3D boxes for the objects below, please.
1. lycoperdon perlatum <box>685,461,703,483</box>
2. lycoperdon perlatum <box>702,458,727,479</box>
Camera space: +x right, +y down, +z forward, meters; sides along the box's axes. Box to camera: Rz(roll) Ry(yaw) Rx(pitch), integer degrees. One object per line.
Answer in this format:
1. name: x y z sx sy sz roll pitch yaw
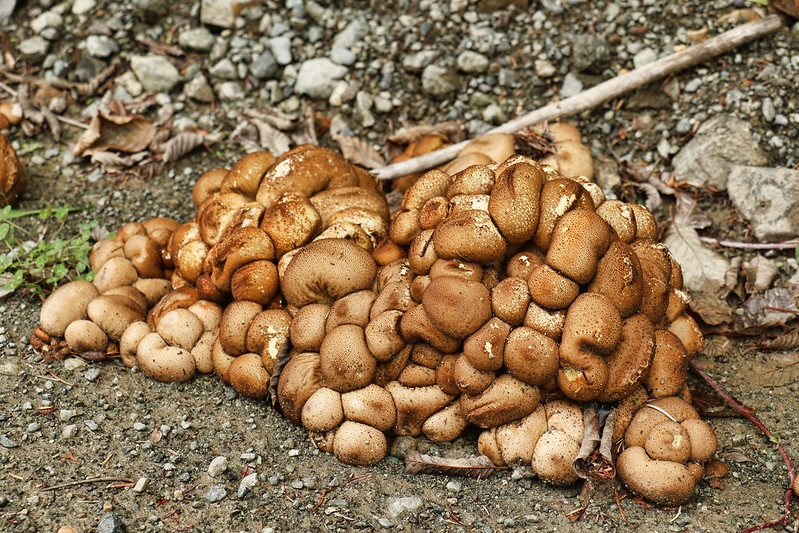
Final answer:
1. lycoperdon perlatum: 2.678 1.847 7.333 0.093 0.173 0.173 -43 1 25
2. lycoperdon perlatum: 2.937 1.883 7.559 0.224 0.178 0.060 -6 -28 3
